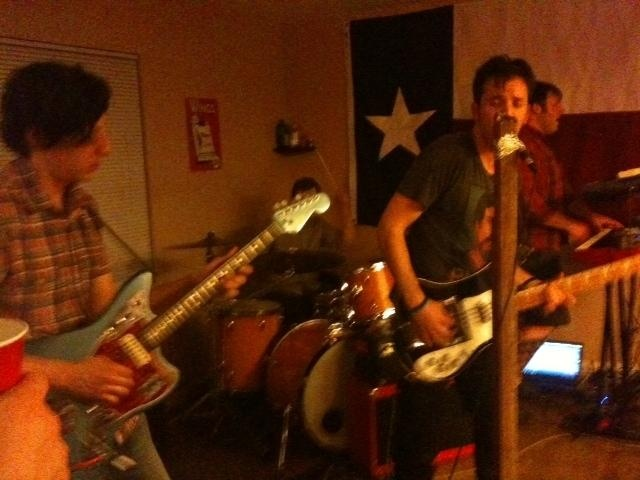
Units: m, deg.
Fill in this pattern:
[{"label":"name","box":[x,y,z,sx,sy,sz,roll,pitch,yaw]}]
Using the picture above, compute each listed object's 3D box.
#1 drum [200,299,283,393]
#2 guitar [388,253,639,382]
[{"label":"drum","box":[-0.367,0.448,2.448,0.410,0.383,0.383,3,2,-16]},{"label":"guitar","box":[0.828,0.300,2.306,1.033,0.443,0.250,-8,13,-14]}]
